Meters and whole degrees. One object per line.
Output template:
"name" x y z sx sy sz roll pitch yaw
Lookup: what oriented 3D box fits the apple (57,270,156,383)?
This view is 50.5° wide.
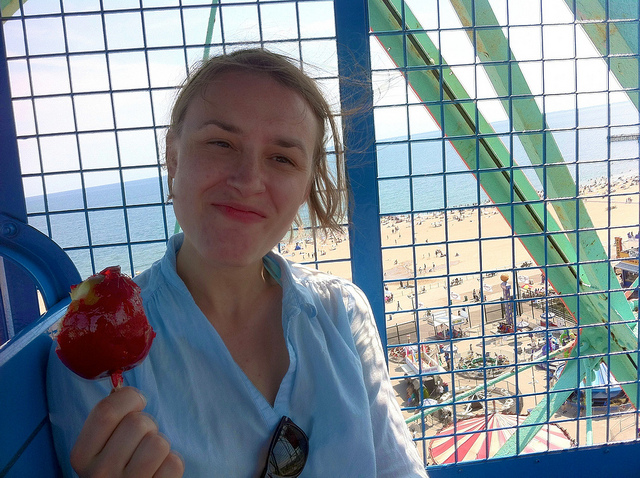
"apple" -0.539 0.223 1.852 0.241 0.320 0.241 7 -3 13
